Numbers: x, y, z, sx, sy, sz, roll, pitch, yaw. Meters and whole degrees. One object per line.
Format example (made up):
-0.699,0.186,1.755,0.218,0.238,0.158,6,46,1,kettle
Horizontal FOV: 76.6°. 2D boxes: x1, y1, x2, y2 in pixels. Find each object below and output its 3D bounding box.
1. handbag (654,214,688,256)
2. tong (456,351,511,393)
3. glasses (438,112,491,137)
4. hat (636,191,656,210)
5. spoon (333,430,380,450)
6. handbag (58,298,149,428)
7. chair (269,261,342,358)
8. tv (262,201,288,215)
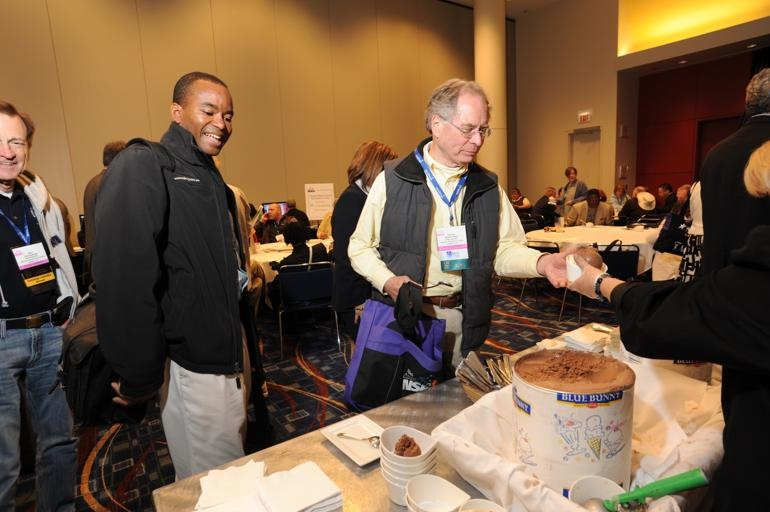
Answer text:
2.929,-0.212,4.981,0.125,0.385,0.340,15,6,1,handbag
0.405,0.472,1.969,0.137,0.063,0.173,0,-1,-12,tong
0.381,-0.621,2.338,0.152,0.045,0.149,41,31,26,glasses
4.242,-0.911,8.017,0.285,0.342,0.096,1,-22,5,hat
-0.093,0.673,1.808,0.194,0.028,0.063,2,51,27,spoon
-1.339,0.514,2.505,0.436,0.609,0.460,-2,4,-26,handbag
-0.733,0.345,4.975,0.755,1.196,0.800,-6,32,-13,chair
-1.629,-0.764,7.633,0.263,0.189,0.284,-3,-2,37,tv
